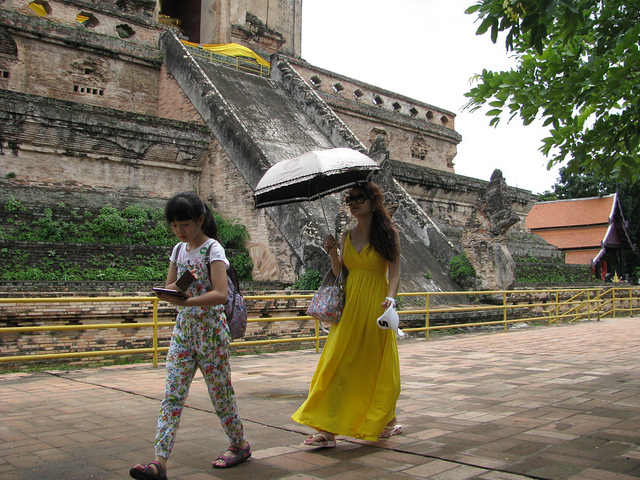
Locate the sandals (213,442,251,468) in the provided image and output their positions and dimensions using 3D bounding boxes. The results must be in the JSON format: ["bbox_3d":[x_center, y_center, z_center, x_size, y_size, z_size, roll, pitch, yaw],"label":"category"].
[{"bbox_3d":[-0.614,1.515,3.360,0.271,0.103,0.104,7,-15,-42],"label":"sandals"}]

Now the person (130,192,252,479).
[{"bbox_3d":[-0.821,0.620,3.275,0.723,1.911,0.587,3,-2,-8],"label":"person"}]

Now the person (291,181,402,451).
[{"bbox_3d":[0.289,0.573,3.847,0.745,2.108,0.443,2,-2,9],"label":"person"}]

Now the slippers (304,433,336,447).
[{"bbox_3d":[0.005,1.550,3.670,0.265,0.102,0.097,7,-15,-14],"label":"slippers"}]

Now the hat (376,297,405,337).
[{"bbox_3d":[0.534,0.592,3.666,0.182,0.289,0.352,2,-2,8],"label":"hat"}]

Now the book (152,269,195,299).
[{"bbox_3d":[-0.940,0.304,3.134,0.156,0.182,0.229,33,-2,-8],"label":"book"}]

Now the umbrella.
[{"bbox_3d":[-0.067,-0.370,4.279,1.027,0.619,0.897,-15,0,-23],"label":"umbrella"}]

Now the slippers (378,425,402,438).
[{"bbox_3d":[0.588,1.582,3.983,0.088,0.081,0.215,-8,-3,43],"label":"slippers"}]
